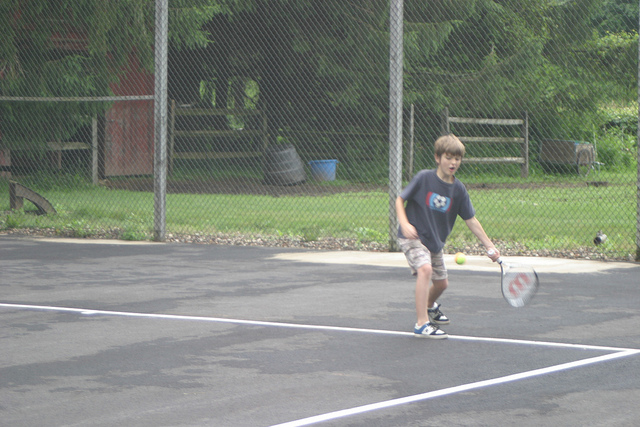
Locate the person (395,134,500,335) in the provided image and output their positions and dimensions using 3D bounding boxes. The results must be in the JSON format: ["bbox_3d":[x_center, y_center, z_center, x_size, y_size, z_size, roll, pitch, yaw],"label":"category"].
[{"bbox_3d":[1.260,0.201,9.551,0.898,2.053,0.684,-4,11,-21],"label":"person"}]

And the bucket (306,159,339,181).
[{"bbox_3d":[0.049,-1.318,26.872,0.743,0.529,0.672,0,-1,-42],"label":"bucket"}]

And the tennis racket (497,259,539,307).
[{"bbox_3d":[2.036,0.707,9.446,0.412,0.497,0.228,0,10,0],"label":"tennis racket"}]

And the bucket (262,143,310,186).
[{"bbox_3d":[-1.050,-1.392,25.582,1.155,1.147,0.736,-3,10,-18],"label":"bucket"}]
